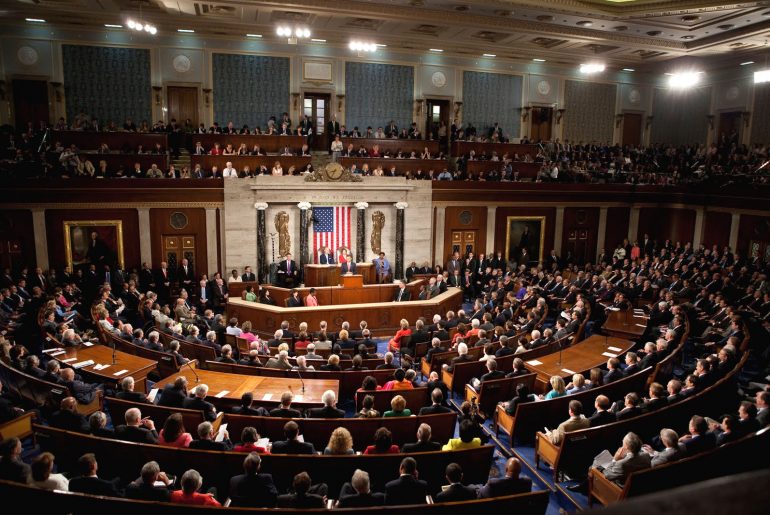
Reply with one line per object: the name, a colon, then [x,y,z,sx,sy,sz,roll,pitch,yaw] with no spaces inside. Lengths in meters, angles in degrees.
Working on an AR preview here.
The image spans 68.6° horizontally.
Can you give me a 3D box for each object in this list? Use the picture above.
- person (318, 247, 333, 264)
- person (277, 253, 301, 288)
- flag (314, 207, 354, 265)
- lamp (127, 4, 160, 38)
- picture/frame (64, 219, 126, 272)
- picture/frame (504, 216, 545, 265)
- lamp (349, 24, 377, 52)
person: [-2.566,-0.042,24.064,0.651,0.902,0.288,-4,5,-39]
person: [-4.027,0.647,23.565,0.799,1.567,0.920,2,16,3]
flag: [-2.345,-0.955,24.804,2.274,3.244,0.174,-1,3,-15]
lamp: [-10.658,-10.356,24.758,1.072,1.233,1.084,-25,-28,36]
picture/frame: [-11.997,-0.411,23.264,2.123,2.303,0.095,0,-30,-32]
picture/frame: [6.863,-0.930,27.982,2.082,2.950,0.198,-2,7,-20]
lamp: [-1.083,-10.407,26.855,1.214,2.020,1.260,-1,10,-3]
